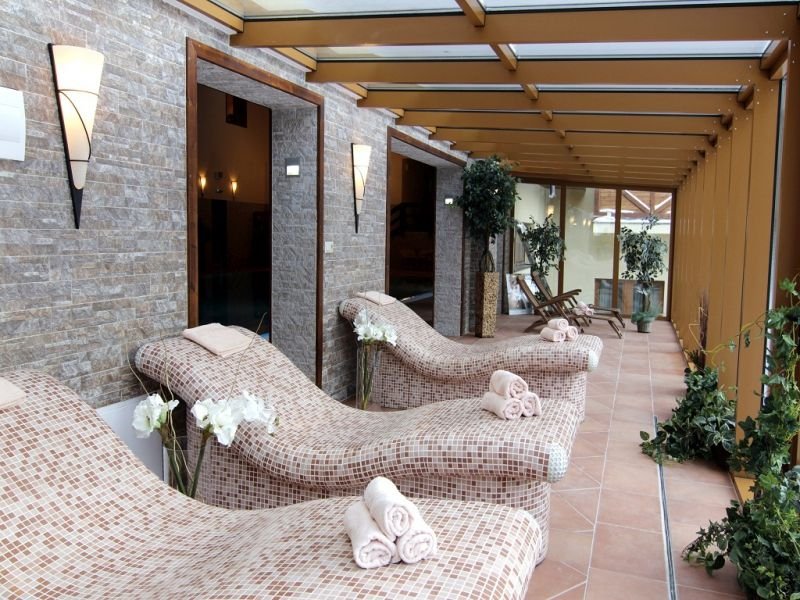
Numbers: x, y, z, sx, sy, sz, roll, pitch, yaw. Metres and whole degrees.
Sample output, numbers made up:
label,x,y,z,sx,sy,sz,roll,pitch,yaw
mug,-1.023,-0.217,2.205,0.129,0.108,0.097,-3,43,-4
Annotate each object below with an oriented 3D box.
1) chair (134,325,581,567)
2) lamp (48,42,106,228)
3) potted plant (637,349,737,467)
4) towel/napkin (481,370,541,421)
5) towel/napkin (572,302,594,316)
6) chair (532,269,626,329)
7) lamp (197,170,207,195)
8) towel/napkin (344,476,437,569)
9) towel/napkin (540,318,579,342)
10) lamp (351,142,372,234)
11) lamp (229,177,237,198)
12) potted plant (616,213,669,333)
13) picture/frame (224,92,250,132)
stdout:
label,x,y,z,sx,sy,sz,roll,pitch,yaw
chair,-0.092,0.858,3.466,2.253,1.208,1.470,1,3,14
lamp,-1.807,-0.904,2.954,0.221,0.991,0.131,1,8,-7
potted plant,2.598,1.061,4.626,0.808,0.888,0.490,-16,-27,10
towel/napkin,0.692,0.585,3.276,0.222,0.191,0.330,-4,4,-28
towel/napkin,3.708,0.193,10.606,0.215,0.205,0.403,-1,1,9
chair,3.824,0.068,11.229,2.124,1.504,1.318,2,5,17
lamp,-2.096,-1.260,5.581,0.078,0.236,0.073,-2,9,-25
towel/napkin,-0.062,0.839,2.026,0.209,0.160,0.320,-2,-1,-13
towel/napkin,1.770,0.345,5.783,0.330,0.204,0.255,-6,9,-38
lamp,-0.435,-1.317,6.132,0.183,1.053,0.393,4,8,14
lamp,-1.899,-1.288,5.983,0.048,0.234,0.165,3,8,7
potted plant,5.519,-0.736,11.912,1.035,2.466,2.365,6,9,27
picture/frame,-1.855,-2.134,5.904,0.031,0.473,0.439,2,1,27
